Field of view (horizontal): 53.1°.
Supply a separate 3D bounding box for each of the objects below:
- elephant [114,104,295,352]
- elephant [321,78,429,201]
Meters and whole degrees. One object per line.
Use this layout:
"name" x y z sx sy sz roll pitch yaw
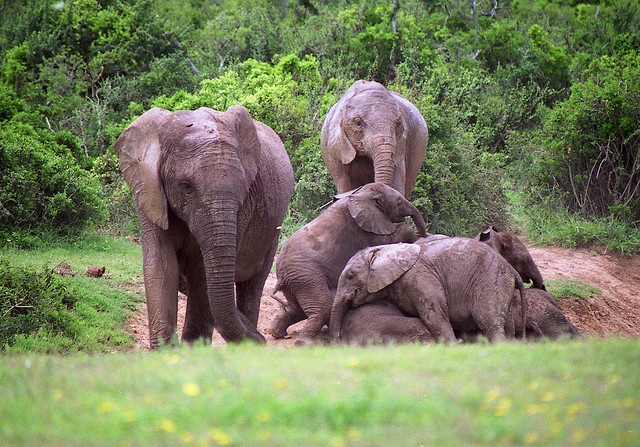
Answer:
"elephant" -1.234 0.034 7.880 1.482 2.846 1.810 3 0 33
"elephant" 0.929 -1.432 11.320 1.088 1.845 2.612 -1 -3 0
